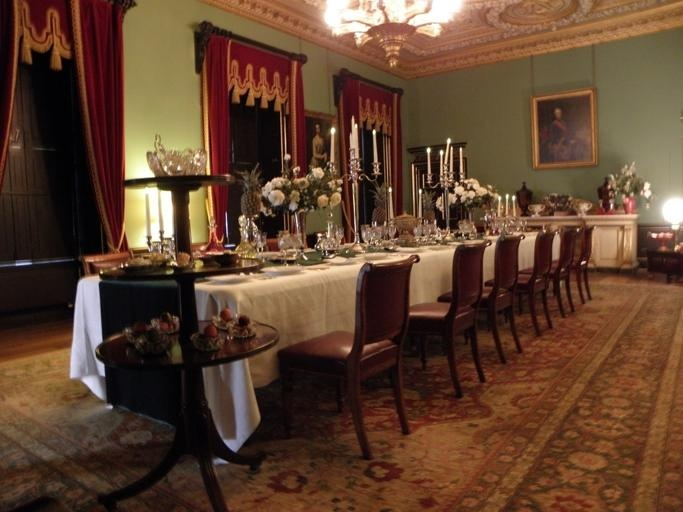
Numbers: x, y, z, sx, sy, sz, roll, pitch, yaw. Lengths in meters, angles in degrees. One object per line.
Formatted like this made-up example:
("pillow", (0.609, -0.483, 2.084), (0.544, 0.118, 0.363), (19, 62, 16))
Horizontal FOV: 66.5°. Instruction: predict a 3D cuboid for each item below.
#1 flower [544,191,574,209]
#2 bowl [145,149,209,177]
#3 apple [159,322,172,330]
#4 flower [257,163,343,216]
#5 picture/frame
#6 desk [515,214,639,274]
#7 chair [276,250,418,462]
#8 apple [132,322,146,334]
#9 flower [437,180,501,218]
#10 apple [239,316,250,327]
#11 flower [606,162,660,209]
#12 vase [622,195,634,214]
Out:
("flower", (4.029, -1.017, 9.640), (0.284, 0.297, 0.383), (0, 0, -36))
("bowl", (-0.846, -0.487, 2.679), (0.290, 0.146, 0.282), (-4, 8, 0))
("apple", (-0.887, 0.352, 2.624), (0.041, 0.026, 0.041), (1, 7, -30))
("flower", (-0.336, -0.490, 4.049), (0.449, 0.294, 0.424), (-12, 7, -32))
("picture/frame", (4.198, -2.401, 9.814), (1.146, 1.399, 0.263), (0, 8, 23))
("desk", (4.331, -0.222, 9.552), (1.819, 1.144, 0.674), (0, 4, 39))
("chair", (0.067, 0.550, 3.224), (0.712, 1.185, 0.679), (5, 7, 29))
("apple", (-0.996, 0.341, 2.550), (0.047, 0.054, 0.051), (-8, 20, -11))
("flower", (1.514, -0.705, 6.006), (0.530, 0.383, 0.625), (-1, 8, 16))
("apple", (-0.491, 0.327, 2.648), (0.048, 0.056, 0.061), (-7, 2, -7))
("flower", (5.108, -1.278, 9.466), (0.705, 0.995, 0.804), (-1, -5, -4))
("vase", (5.049, -0.915, 9.128), (0.166, 0.299, 0.233), (2, 9, 32))
